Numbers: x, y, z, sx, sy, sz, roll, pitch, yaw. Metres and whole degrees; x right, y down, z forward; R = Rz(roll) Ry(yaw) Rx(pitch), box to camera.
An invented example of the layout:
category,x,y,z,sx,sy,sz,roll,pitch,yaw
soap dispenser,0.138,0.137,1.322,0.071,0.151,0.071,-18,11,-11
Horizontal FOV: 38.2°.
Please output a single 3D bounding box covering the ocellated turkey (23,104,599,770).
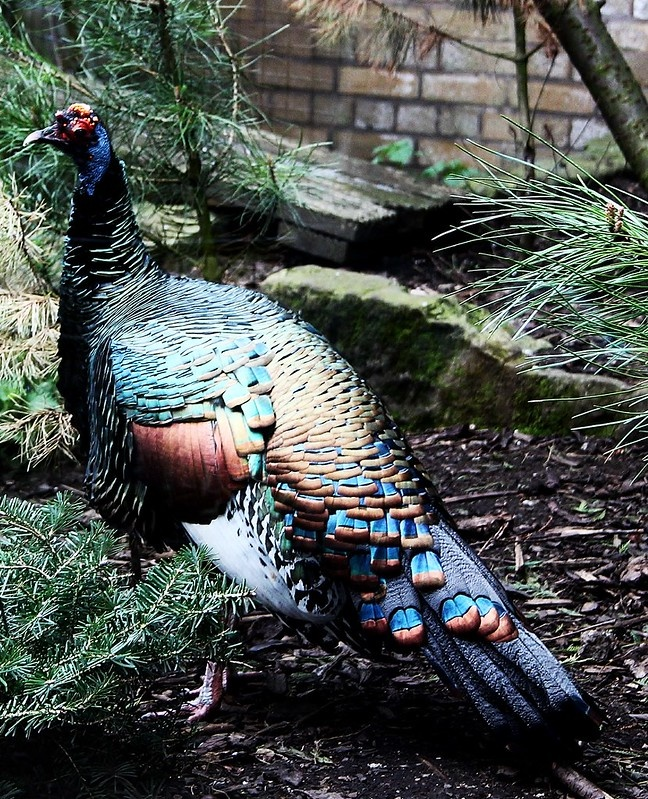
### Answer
category,x,y,z,sx,sy,sz,roll,pitch,yaw
ocellated turkey,-0.157,-0.022,2.316,0.611,1.577,1.486,-18,16,-35
